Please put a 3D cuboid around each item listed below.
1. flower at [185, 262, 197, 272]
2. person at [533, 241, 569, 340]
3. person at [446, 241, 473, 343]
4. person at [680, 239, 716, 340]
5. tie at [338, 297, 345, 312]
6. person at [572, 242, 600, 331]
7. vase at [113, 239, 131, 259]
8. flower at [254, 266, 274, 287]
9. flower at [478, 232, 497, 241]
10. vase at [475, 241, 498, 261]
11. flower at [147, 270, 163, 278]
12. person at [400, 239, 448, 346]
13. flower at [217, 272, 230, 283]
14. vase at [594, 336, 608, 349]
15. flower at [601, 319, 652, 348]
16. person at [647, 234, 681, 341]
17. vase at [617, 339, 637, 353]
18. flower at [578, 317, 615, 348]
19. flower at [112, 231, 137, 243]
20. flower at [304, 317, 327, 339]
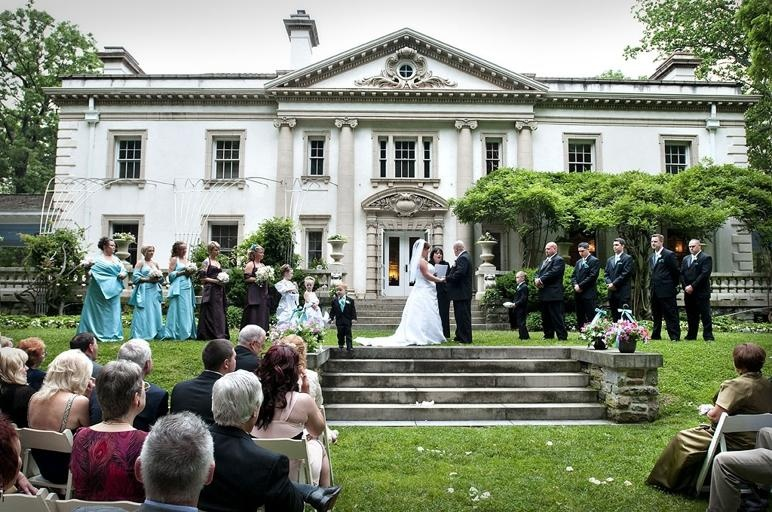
[{"bbox_3d":[-5.162,0.268,20.969,0.238,0.138,0.234,8,5,-4],"label":"flower"},{"bbox_3d":[4.604,0.930,21.714,0.834,2.693,1.400,0,-2,10],"label":"person"},{"bbox_3d":[1.932,0.924,20.428,0.661,2.632,0.594,0,-2,10],"label":"person"},{"bbox_3d":[8.429,0.878,21.181,0.852,2.735,0.970,0,-2,22],"label":"person"},{"bbox_3d":[-1.070,1.189,19.509,0.152,0.333,0.213,1,-2,-4],"label":"tie"},{"bbox_3d":[5.508,0.803,21.592,0.678,2.426,1.222,0,-2,13],"label":"person"},{"bbox_3d":[-8.917,-0.277,26.443,0.682,0.711,0.670,-1,-11,-3],"label":"vase"},{"bbox_3d":[-3.215,0.514,20.688,0.497,0.495,0.489,4,8,28],"label":"flower"},{"bbox_3d":[3.798,-0.831,29.273,0.553,0.297,0.544,0,-6,-1],"label":"flower"},{"bbox_3d":[3.672,-0.232,28.411,0.808,0.841,0.795,1,-12,-2],"label":"vase"},{"bbox_3d":[-6.122,0.459,20.893,0.326,0.184,0.136,2,-2,-27],"label":"flower"},{"bbox_3d":[0.947,0.909,20.234,1.057,2.681,0.540,1,-2,2],"label":"person"},{"bbox_3d":[-4.302,0.583,20.823,0.344,0.337,0.335,-1,7,-12],"label":"flower"},{"bbox_3d":[5.061,2.011,18.341,0.299,0.219,0.304,0,-9,-2],"label":"vase"},{"bbox_3d":[5.593,1.749,18.167,0.766,0.506,0.754,0,-6,0],"label":"flower"},{"bbox_3d":[7.539,0.807,21.111,0.735,2.856,0.892,0,-2,19],"label":"person"},{"bbox_3d":[5.528,2.039,17.872,0.336,0.199,0.329,1,-10,-5],"label":"vase"},{"bbox_3d":[5.009,1.787,18.459,0.718,0.513,0.701,0,-5,-28],"label":"flower"},{"bbox_3d":[-9.446,-0.709,28.297,0.717,0.384,0.710,1,-2,8],"label":"flower"},{"bbox_3d":[-1.689,1.688,18.611,0.491,0.494,0.471,-3,-13,34],"label":"flower"}]
